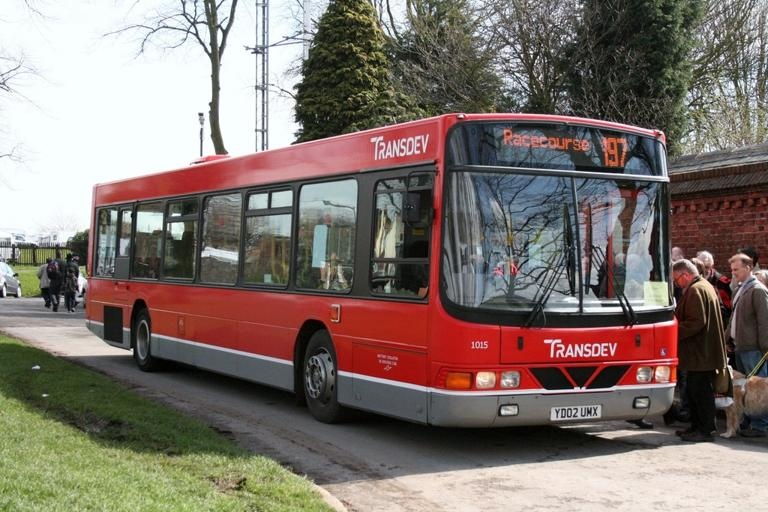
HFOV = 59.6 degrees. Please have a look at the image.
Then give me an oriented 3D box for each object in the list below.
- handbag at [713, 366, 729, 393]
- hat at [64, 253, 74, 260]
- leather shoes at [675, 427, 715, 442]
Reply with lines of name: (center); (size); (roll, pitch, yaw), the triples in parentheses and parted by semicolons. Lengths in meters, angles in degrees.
handbag: (4.669, 1.709, 9.224); (0.216, 0.343, 0.111); (0, 6, -23)
hat: (-13.674, -0.044, 29.200); (0.303, 0.337, 0.407); (1, -14, -37)
leather shoes: (4.341, 2.482, 9.348); (0.446, 0.202, 0.169); (-4, -3, 14)
